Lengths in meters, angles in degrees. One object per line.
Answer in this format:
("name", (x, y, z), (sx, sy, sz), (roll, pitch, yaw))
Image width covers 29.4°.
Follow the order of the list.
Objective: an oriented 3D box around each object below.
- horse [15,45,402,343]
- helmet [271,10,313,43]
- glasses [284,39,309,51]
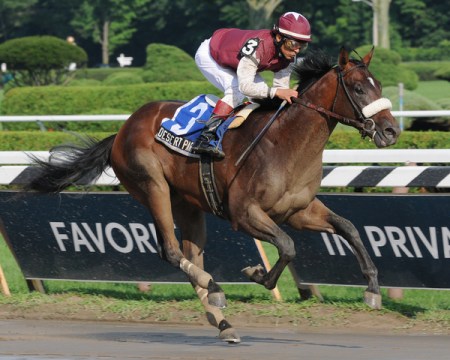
("horse", (-0.139, 0.053, 6.855), (1.093, 2.014, 4.508), (-16, 15, -38))
("helmet", (0.506, -1.080, 5.985), (0.331, 0.124, 0.259), (24, 29, 39))
("glasses", (0.490, -0.931, 5.921), (0.104, 0.028, 0.124), (4, 10, -40))
